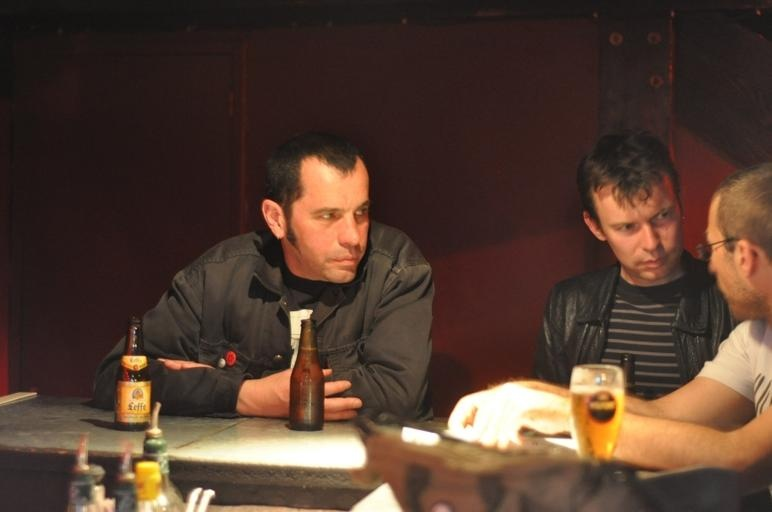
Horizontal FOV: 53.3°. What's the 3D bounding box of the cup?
[{"bbox_3d":[0.684,0.508,2.485,0.168,0.299,0.123,-1,0,12],"label":"cup"}]
